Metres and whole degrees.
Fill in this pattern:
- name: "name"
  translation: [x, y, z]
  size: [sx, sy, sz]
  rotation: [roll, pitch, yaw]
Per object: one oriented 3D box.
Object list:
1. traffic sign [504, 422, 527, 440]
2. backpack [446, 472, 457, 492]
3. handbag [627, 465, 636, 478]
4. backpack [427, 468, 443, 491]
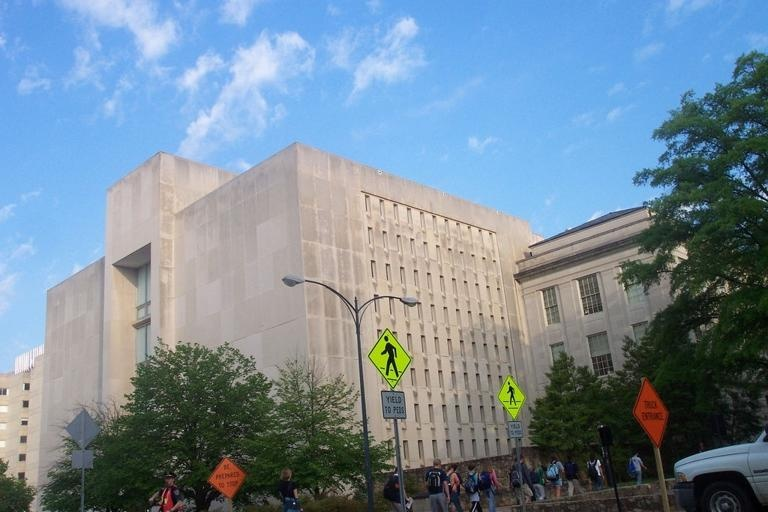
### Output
- name: "traffic sign"
  translation: [5.234, 6.831, 24.204]
  size: [0.446, 0.643, 0.931]
  rotation: [-20, -28, 25]
- name: "backpack"
  translation: [3.086, 9.834, 26.731]
  size: [0.421, 0.827, 1.166]
  rotation: [-9, -25, 3]
- name: "handbag"
  translation: [14.266, 12.176, 34.845]
  size: [0.413, 0.636, 0.762]
  rotation: [-13, -26, 13]
- name: "backpack"
  translation: [2.073, 8.884, 24.237]
  size: [0.751, 0.990, 0.373]
  rotation: [-13, -26, 12]
